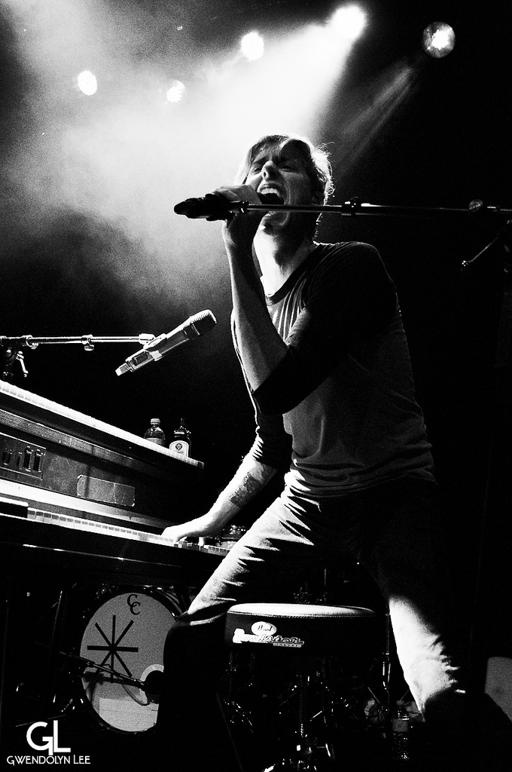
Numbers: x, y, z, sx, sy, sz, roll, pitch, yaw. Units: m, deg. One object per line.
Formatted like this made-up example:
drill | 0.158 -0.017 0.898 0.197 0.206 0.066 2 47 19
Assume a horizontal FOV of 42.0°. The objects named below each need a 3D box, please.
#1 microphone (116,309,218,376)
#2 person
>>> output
microphone | -0.463 -0.248 3.524 0.507 0.129 0.133 -30 -58 16
person | 0.114 0.037 1.880 0.649 1.888 1.002 4 -12 -22
